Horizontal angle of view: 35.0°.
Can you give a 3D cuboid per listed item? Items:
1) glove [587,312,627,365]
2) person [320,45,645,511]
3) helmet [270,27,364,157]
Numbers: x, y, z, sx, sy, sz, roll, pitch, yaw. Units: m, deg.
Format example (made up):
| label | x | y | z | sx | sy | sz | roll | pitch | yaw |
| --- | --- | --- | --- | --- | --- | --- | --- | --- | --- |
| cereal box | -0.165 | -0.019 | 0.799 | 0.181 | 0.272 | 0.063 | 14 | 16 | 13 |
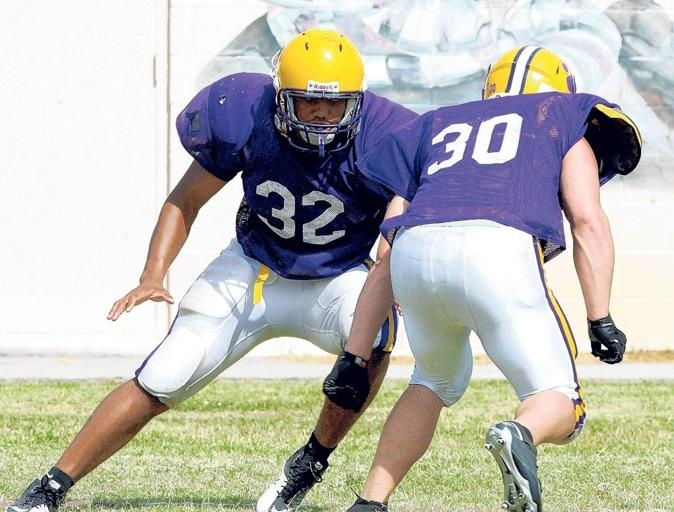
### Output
| label | x | y | z | sx | sy | sz | roll | pitch | yaw |
| --- | --- | --- | --- | --- | --- | --- | --- | --- | --- |
| glove | 1.198 | 0.379 | 4.744 | 0.165 | 0.214 | 0.100 | -23 | 3 | 20 |
| person | 0.700 | 0.239 | 4.653 | 1.138 | 1.802 | 1.044 | 6 | 18 | 4 |
| helmet | -0.132 | -0.845 | 5.344 | 0.441 | 0.492 | 0.592 | 0 | 46 | -5 |
